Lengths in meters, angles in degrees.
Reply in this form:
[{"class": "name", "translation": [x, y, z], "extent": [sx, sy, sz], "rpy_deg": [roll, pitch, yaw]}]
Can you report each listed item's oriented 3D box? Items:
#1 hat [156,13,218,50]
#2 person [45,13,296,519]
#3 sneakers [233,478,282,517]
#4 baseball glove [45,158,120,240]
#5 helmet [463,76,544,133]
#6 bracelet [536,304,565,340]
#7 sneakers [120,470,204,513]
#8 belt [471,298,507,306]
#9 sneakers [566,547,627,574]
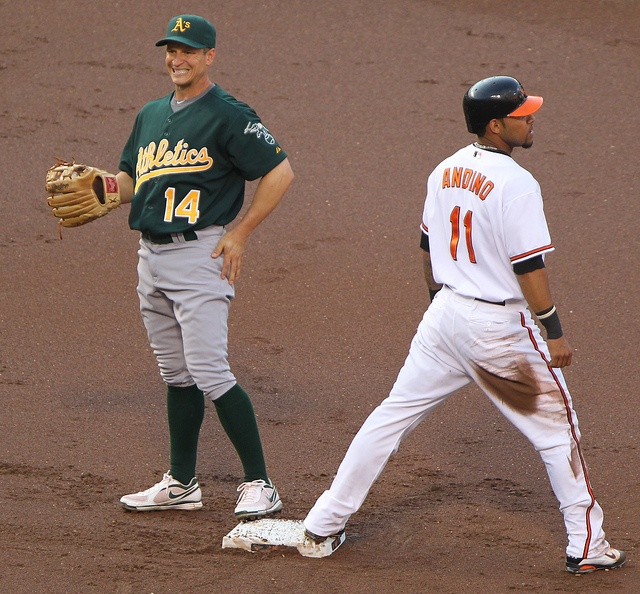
[{"class": "hat", "translation": [-0.693, -1.378, 6.484], "extent": [0.204, 0.113, 0.281], "rpy_deg": [12, 10, 40]}, {"class": "person", "translation": [-0.699, -0.155, 6.592], "extent": [1.307, 2.625, 0.645], "rpy_deg": [13, 16, 28]}, {"class": "sneakers", "translation": [-0.349, 1.058, 6.647], "extent": [0.189, 0.156, 0.376], "rpy_deg": [-4, 6, 18]}, {"class": "baseball glove", "translation": [-1.270, -0.552, 6.596], "extent": [0.259, 0.278, 0.415], "rpy_deg": [16, 3, -17]}, {"class": "helmet", "translation": [0.883, -0.989, 6.121], "extent": [0.442, 0.189, 0.261], "rpy_deg": [-7, 36, 4]}, {"class": "bracelet", "translation": [1.096, 0.113, 5.967], "extent": [0.137, 0.162, 0.067], "rpy_deg": [5, 14, -1]}, {"class": "sneakers", "translation": [-0.886, 1.047, 6.743], "extent": [0.518, 0.189, 0.172], "rpy_deg": [6, -1, -38]}, {"class": "belt", "translation": [0.816, 0.018, 6.014], "extent": [0.152, 0.026, 0.013], "rpy_deg": [6, 14, 11]}, {"class": "sneakers", "translation": [1.358, 1.299, 6.172], "extent": [0.300, 0.113, 0.112], "rpy_deg": [-9, 6, -9]}]
